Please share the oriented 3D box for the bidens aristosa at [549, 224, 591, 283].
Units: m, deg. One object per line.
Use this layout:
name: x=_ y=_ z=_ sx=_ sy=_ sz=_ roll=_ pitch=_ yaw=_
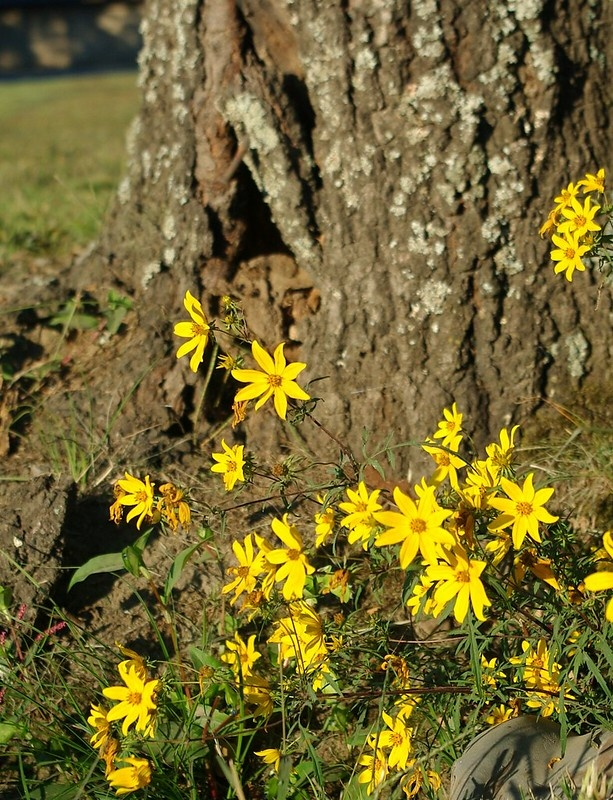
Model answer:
bidens aristosa: x=0.741 y=-0.412 z=2.984 sx=0.037 sy=0.140 sz=0.141 roll=6 pitch=-17 yaw=-39
